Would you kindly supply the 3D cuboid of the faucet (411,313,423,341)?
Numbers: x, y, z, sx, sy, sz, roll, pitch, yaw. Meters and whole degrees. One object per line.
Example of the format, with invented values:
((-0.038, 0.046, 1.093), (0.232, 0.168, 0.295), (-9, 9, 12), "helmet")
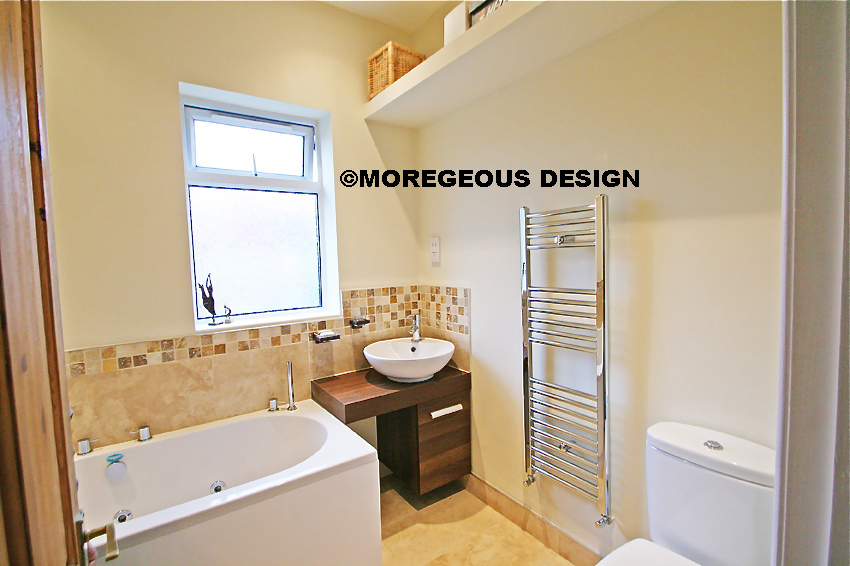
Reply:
((-0.063, 0.293, 3.984), (0.068, 0.173, 0.199), (-5, 6, -3), "faucet")

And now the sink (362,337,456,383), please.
((-0.107, 0.491, 3.723), (0.585, 0.185, 0.579), (-1, 8, 3), "sink")
